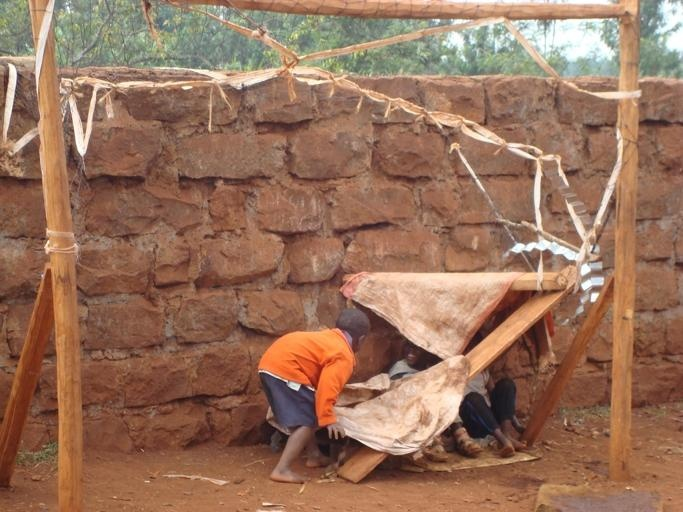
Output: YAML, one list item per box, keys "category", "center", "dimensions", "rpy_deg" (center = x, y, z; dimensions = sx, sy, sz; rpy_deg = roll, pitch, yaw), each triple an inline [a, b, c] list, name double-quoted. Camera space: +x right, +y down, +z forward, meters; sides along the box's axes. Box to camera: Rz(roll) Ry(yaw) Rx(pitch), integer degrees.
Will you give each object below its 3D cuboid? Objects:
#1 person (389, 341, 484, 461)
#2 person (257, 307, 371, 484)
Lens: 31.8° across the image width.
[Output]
- category: "person"
  center: [0.819, 1.194, 10.347]
  dimensions: [0.652, 1.065, 0.738]
  rpy_deg: [-13, 20, -23]
- category: "person"
  center: [-0.255, 1.154, 9.982]
  dimensions: [0.865, 1.400, 0.546]
  rpy_deg: [1, 3, -4]
